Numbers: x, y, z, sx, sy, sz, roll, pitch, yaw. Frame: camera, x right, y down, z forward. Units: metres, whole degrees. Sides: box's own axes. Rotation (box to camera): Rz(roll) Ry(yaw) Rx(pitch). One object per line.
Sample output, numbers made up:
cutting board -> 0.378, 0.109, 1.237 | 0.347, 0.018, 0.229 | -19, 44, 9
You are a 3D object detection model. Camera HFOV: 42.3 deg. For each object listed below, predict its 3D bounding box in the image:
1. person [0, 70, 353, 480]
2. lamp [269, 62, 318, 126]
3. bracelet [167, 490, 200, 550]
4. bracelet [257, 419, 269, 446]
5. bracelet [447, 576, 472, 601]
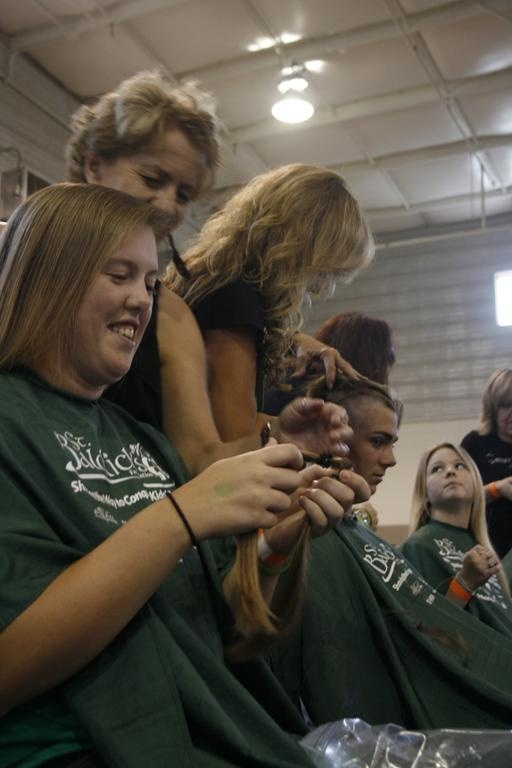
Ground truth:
person -> -0.141, -0.175, 1.923 | 0.909, 1.121, 0.661 | -8, -15, 13
lamp -> 0.106, -0.907, 2.113 | 0.176, 0.159, 0.158 | 3, -20, -5
bracelet -> -0.079, 0.154, 0.761 | 0.014, 0.053, 0.053 | -25, -13, 7
bracelet -> 0.018, 0.118, 1.601 | 0.017, 0.048, 0.020 | 14, -17, -16
bracelet -> 0.560, 0.567, 1.836 | 0.063, 0.046, 0.060 | 29, -14, 24
